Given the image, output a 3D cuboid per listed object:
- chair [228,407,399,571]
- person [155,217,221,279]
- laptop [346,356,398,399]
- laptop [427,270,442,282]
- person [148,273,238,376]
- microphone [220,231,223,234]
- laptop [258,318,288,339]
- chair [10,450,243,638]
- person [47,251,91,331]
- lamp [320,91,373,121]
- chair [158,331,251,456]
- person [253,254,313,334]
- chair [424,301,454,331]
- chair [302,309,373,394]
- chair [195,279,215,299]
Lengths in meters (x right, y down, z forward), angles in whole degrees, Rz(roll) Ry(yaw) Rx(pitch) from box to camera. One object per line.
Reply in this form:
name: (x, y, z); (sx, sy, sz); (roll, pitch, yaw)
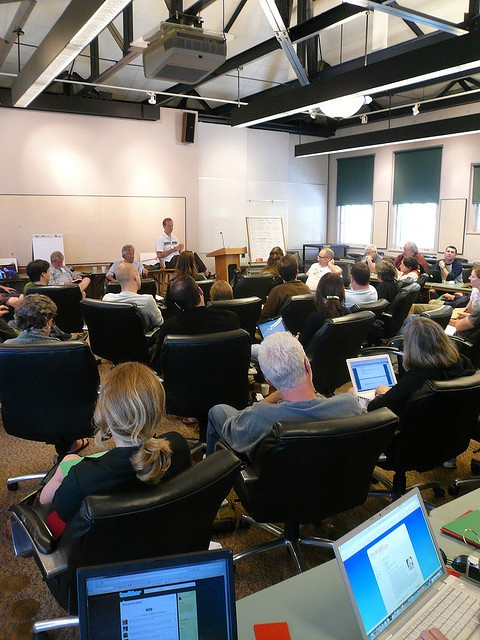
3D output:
chair: (0.226, 0.640, 1.868); (0.537, 0.673, 0.616); (0, 6, -15)
person: (-0.901, -1.163, 7.641); (0.863, 0.990, 0.439); (6, 30, 23)
laptop: (0.725, 0.299, 2.602); (0.261, 0.162, 0.225); (-9, 12, -19)
laptop: (3.067, -0.689, 7.413); (0.138, 0.189, 0.195); (-6, 9, -41)
person: (-0.317, 0.030, 3.062); (0.552, 0.871, 0.471); (-11, 43, -4)
microphone: (-0.420, -1.886, 10.086); (0.040, 0.058, 0.019); (1, 2, 0)
laptop: (0.219, 0.053, 3.148); (0.152, 0.021, 0.208); (-22, 34, 16)
chair: (-0.316, 0.548, 1.351); (0.449, 0.548, 0.493); (-6, 18, -34)
person: (-2.354, -0.523, 6.509); (0.532, 0.882, 0.414); (-7, 10, -1)
lamp: (1.021, -2.016, 4.405); (0.473, 0.181, 0.493); (-10, 14, -9)
chair: (-0.205, 0.385, 2.780); (0.516, 0.786, 0.494); (-1, 18, -10)
person: (0.468, -0.254, 4.652); (0.519, 0.774, 0.425); (-10, 21, -18)
chair: (1.572, -0.033, 3.720); (0.166, 0.207, 0.191); (-16, 40, -17)
chair: (0.619, 0.197, 3.032); (0.377, 0.598, 0.379); (-19, 40, -24)
chair: (-0.356, -0.310, 4.802); (0.172, 0.181, 0.188); (2, 18, 3)
